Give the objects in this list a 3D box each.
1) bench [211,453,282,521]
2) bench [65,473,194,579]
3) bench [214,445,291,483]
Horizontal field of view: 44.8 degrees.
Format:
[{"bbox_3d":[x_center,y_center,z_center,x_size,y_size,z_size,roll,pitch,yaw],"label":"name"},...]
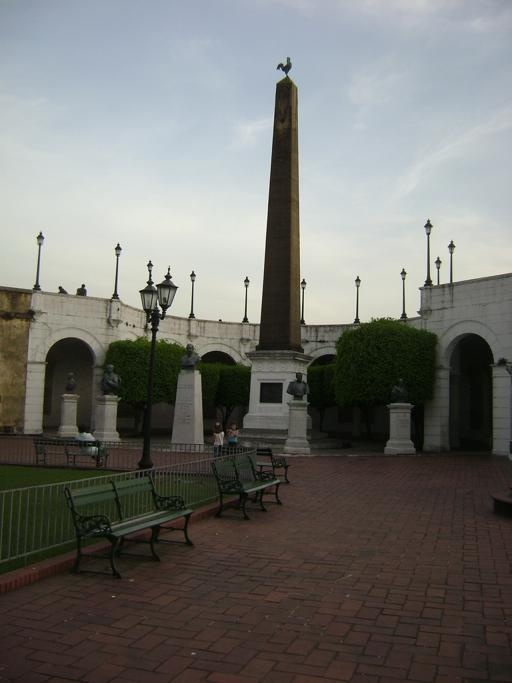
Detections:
[{"bbox_3d":[-0.131,2.194,9.577,0.619,0.790,1.682,-1,-7,16],"label":"bench"},{"bbox_3d":[-1.265,1.844,6.457,0.591,0.741,1.622,-2,-8,16],"label":"bench"},{"bbox_3d":[-0.101,2.359,11.957,1.976,0.792,0.704,-2,-9,13],"label":"bench"}]
